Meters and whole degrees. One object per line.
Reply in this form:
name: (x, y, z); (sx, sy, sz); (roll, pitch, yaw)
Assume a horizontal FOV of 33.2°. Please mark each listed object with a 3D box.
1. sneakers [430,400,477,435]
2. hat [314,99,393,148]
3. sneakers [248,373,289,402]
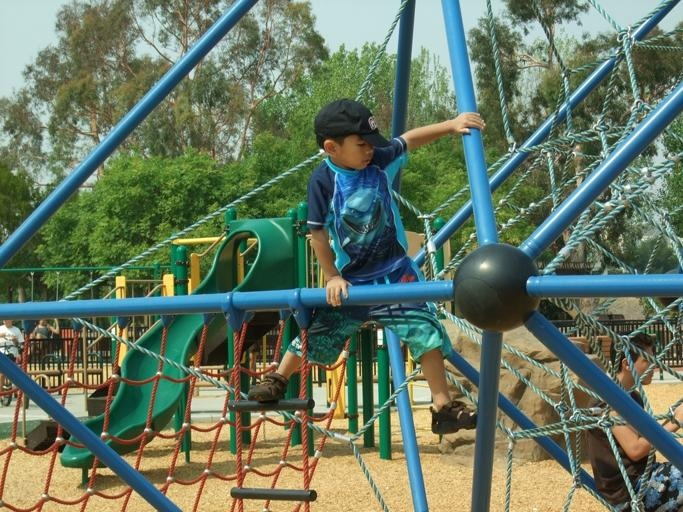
sneakers: (1.173, 1.650, 11.802); (0.548, 0.310, 0.227); (-18, -20, 28)
hat: (0.059, -1.363, 11.828); (0.606, 0.445, 0.467); (-2, 7, -5)
sneakers: (-0.741, 1.358, 11.772); (0.209, 0.199, 0.405); (25, 3, 30)
